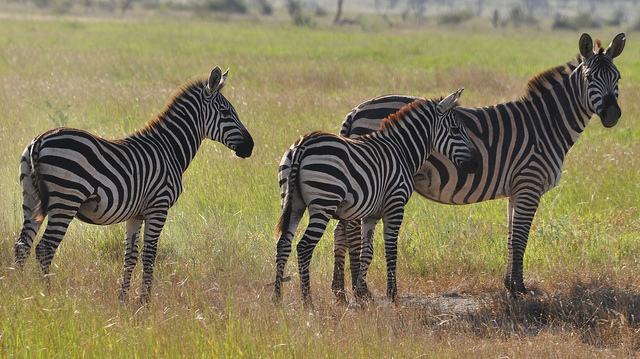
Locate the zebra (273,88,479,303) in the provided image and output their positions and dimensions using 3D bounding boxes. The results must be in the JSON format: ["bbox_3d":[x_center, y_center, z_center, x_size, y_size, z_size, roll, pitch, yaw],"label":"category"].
[{"bbox_3d":[1.303,0.569,19.156,4.815,4.327,1.542,0,-3,-26],"label":"zebra"}]

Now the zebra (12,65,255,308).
[{"bbox_3d":[-3.926,0.278,18.772,5.129,4.806,1.591,-3,6,-33],"label":"zebra"}]
